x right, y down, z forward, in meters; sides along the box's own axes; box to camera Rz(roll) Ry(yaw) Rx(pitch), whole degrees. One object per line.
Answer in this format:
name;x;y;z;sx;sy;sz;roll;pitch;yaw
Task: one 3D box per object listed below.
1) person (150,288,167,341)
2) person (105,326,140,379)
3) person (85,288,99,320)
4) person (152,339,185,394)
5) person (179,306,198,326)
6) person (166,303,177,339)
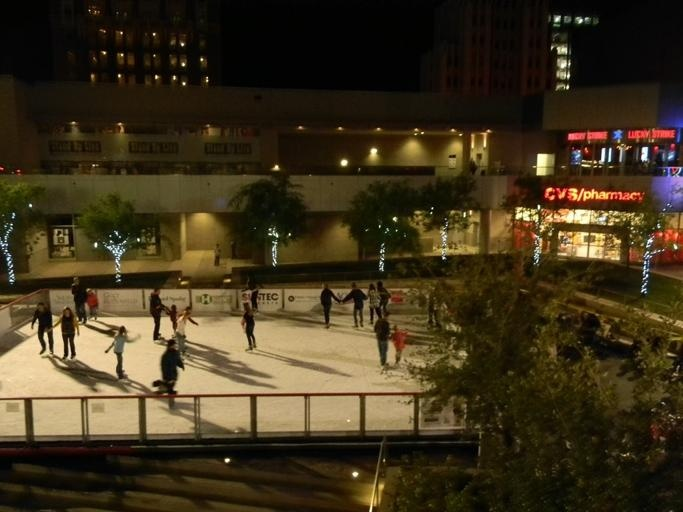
person;-6.758;2.168;24.770;0.427;1.846;1.369;-2;7;-15
person;-7.310;3.301;22.439;1.021;1.633;0.746;24;29;30
person;-10.011;1.932;27.093;0.351;1.323;1.864;-3;7;-19
person;-5.031;3.227;19.453;0.774;1.779;1.393;-2;7;-16
person;-5.760;2.258;25.130;0.399;0.439;0.931;0;-33;-36
person;-6.426;2.511;25.414;0.410;1.342;1.291;0;0;-13
